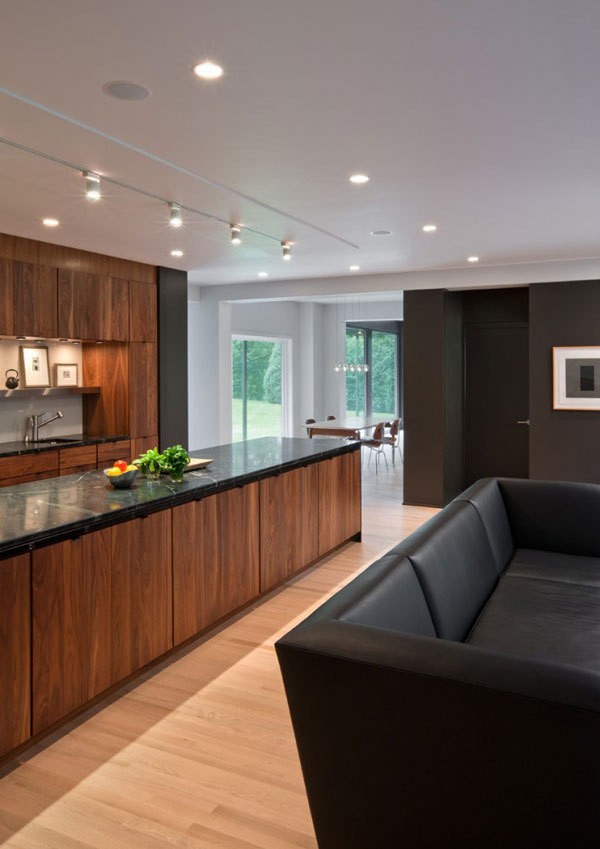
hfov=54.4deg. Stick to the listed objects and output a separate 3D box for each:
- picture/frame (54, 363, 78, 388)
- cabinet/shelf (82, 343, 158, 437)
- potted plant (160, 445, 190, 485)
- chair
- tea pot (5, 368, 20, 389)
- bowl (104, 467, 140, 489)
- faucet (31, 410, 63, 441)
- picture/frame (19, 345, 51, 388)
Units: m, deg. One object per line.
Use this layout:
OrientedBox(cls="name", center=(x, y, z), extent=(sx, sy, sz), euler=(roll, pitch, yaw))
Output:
OrientedBox(cls="picture/frame", center=(-2.363, -0.500, 5.866), extent=(0.024, 0.199, 0.243), euler=(-2, 1, 20))
OrientedBox(cls="cabinet/shelf", center=(-1.807, -0.355, 6.010), extent=(0.641, 0.980, 0.368), euler=(-1, 3, -19))
OrientedBox(cls="potted plant", center=(-0.665, 0.205, 3.112), extent=(0.158, 0.194, 0.172), euler=(-3, 2, -13))
OrientedBox(cls="chair", center=(1.049, 0.296, 9.986), extent=(1.218, 0.780, 3.639), euler=(1, 3, 13))
OrientedBox(cls="tea pot", center=(-2.565, -0.415, 5.246), extent=(0.092, 0.182, 0.169), euler=(0, 3, 7))
OrientedBox(cls="bowl", center=(-0.870, 0.257, 2.870), extent=(0.137, 0.100, 0.196), euler=(-1, 3, -18))
OrientedBox(cls="faucet", center=(-2.448, 0.001, 5.705), extent=(0.122, 0.264, 0.507), euler=(0, 3, 9))
OrientedBox(cls="picture/frame", center=(-2.500, -0.549, 5.481), extent=(0.023, 0.407, 0.365), euler=(-4, 3, 18))
